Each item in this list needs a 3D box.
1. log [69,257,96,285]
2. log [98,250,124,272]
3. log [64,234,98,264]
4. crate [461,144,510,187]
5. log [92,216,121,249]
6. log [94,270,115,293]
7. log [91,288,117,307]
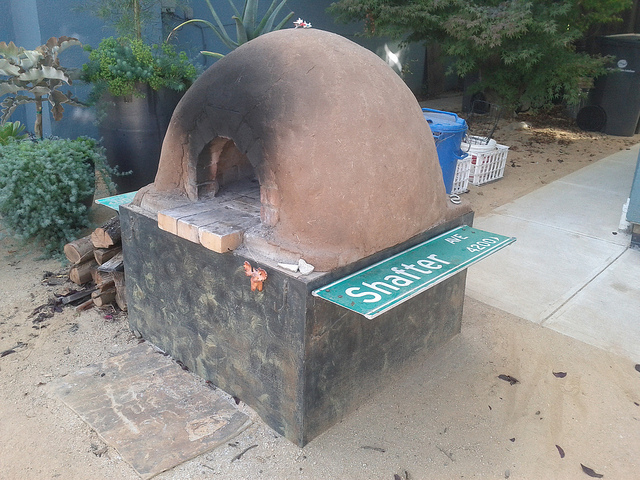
[{"bbox_3d":[-2.315,0.297,5.251,0.191,0.247,0.269,20,32,25],"label":"log"},{"bbox_3d":[-1.882,0.153,4.799,0.192,0.058,0.209,24,43,32],"label":"log"},{"bbox_3d":[-2.361,0.096,5.236,0.129,0.171,0.223,-35,-3,42],"label":"log"},{"bbox_3d":[2.667,-1.213,8.785,0.974,0.655,0.936,18,25,41],"label":"crate"},{"bbox_3d":[-2.027,-0.101,5.121,0.229,0.213,0.469,10,22,-2],"label":"log"},{"bbox_3d":[-2.028,0.399,4.969,0.152,0.216,0.074,1,-10,-10],"label":"log"},{"bbox_3d":[-2.042,0.476,4.979,0.142,0.154,0.198,30,35,24],"label":"log"}]
